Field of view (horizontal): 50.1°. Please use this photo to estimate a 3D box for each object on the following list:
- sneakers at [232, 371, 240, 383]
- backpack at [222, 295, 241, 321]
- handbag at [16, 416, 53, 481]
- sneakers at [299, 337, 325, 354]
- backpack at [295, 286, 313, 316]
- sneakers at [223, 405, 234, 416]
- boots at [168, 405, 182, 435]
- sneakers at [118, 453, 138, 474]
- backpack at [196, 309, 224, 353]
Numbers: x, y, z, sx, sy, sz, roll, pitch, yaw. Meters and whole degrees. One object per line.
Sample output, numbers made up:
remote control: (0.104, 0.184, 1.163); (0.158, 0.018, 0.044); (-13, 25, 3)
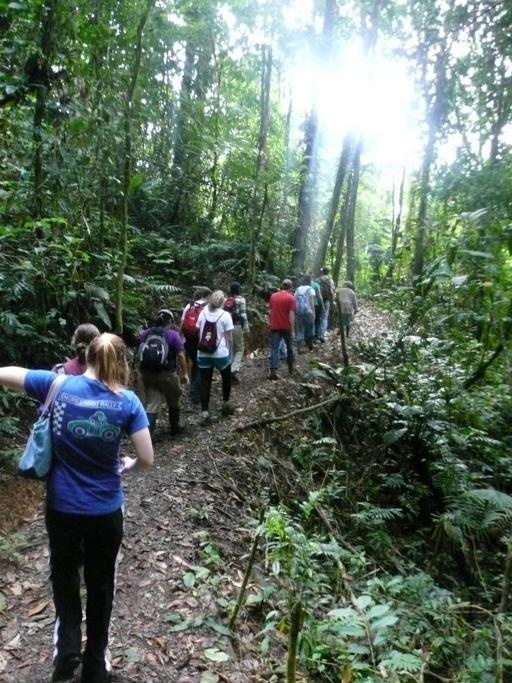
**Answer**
sneakers: (-0.331, 0.572, 8.842); (0.105, 0.165, 0.164); (0, -10, -3)
backpack: (-0.351, -0.512, 8.599); (0.260, 0.355, 0.337); (1, 7, 5)
handbag: (-1.226, 0.594, 3.022); (0.146, 0.370, 0.162); (10, 5, 23)
sneakers: (1.140, 0.084, 11.411); (0.480, 0.201, 0.143); (-27, 2, 3)
backpack: (0.903, -0.768, 10.309); (0.427, 0.497, 0.318); (9, 26, 22)
sneakers: (-0.369, 0.916, 7.272); (0.118, 0.066, 0.150); (5, -7, 4)
boots: (-0.990, 0.964, 6.782); (0.160, 0.399, 0.367); (8, 4, -2)
sneakers: (-0.771, 0.736, 3.315); (0.068, 0.080, 0.201); (5, 7, -4)
backpack: (-0.535, -0.111, 6.694); (0.289, 0.636, 0.354); (13, -40, 4)
